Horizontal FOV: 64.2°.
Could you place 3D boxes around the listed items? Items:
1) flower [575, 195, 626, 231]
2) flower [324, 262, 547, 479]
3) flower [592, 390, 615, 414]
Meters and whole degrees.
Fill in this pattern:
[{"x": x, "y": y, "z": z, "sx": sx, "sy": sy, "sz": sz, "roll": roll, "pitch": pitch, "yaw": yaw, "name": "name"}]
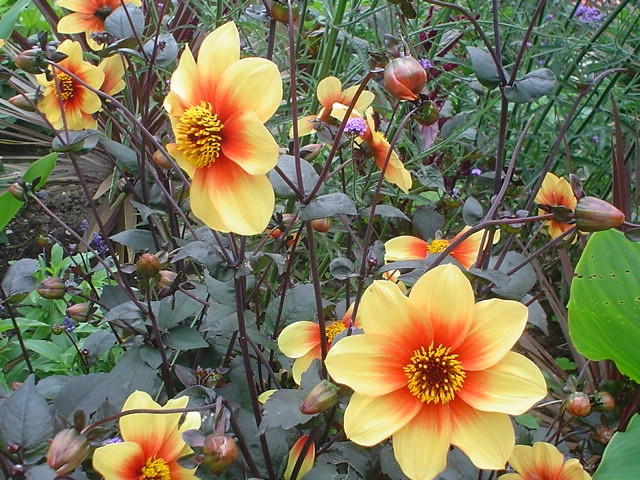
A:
[{"x": 0.545, "y": -0.044, "z": 1.001, "sx": 0.093, "sy": 0.072, "sz": 0.078, "roll": 4, "pitch": 8, "yaw": 43, "name": "flower"}, {"x": 0.219, "y": 0.250, "z": 0.965, "sx": 0.372, "sy": 0.212, "sz": 0.362, "roll": 31, "pitch": 61, "yaw": 18, "name": "flower"}, {"x": 0.716, "y": 0.407, "z": 1.298, "sx": 0.055, "sy": 0.065, "sz": 0.057, "roll": 29, "pitch": 61, "yaw": -34, "name": "flower"}]
